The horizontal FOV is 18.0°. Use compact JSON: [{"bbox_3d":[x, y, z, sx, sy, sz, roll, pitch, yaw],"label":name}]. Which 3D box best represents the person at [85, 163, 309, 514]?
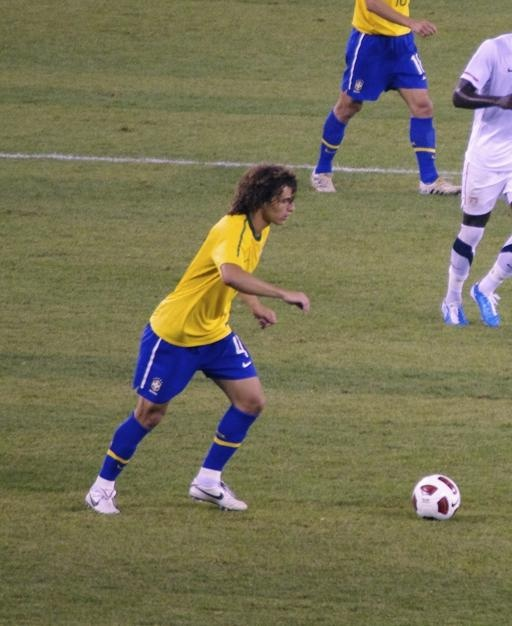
[{"bbox_3d":[-0.250,0.184,8.948,0.885,2.120,0.619,16,16,-4],"label":"person"}]

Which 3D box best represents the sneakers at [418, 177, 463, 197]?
[{"bbox_3d":[1.508,-1.031,13.212,0.357,0.178,0.135,2,8,11],"label":"sneakers"}]

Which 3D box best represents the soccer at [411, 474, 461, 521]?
[{"bbox_3d":[0.999,1.038,8.995,0.236,0.252,0.236,3,-19,6],"label":"soccer"}]

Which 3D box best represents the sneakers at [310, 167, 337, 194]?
[{"bbox_3d":[0.551,-1.093,13.351,0.130,0.107,0.245,-7,31,-15],"label":"sneakers"}]

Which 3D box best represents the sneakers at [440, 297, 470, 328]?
[{"bbox_3d":[1.374,0.014,11.133,0.100,0.109,0.238,-5,11,-13],"label":"sneakers"}]
